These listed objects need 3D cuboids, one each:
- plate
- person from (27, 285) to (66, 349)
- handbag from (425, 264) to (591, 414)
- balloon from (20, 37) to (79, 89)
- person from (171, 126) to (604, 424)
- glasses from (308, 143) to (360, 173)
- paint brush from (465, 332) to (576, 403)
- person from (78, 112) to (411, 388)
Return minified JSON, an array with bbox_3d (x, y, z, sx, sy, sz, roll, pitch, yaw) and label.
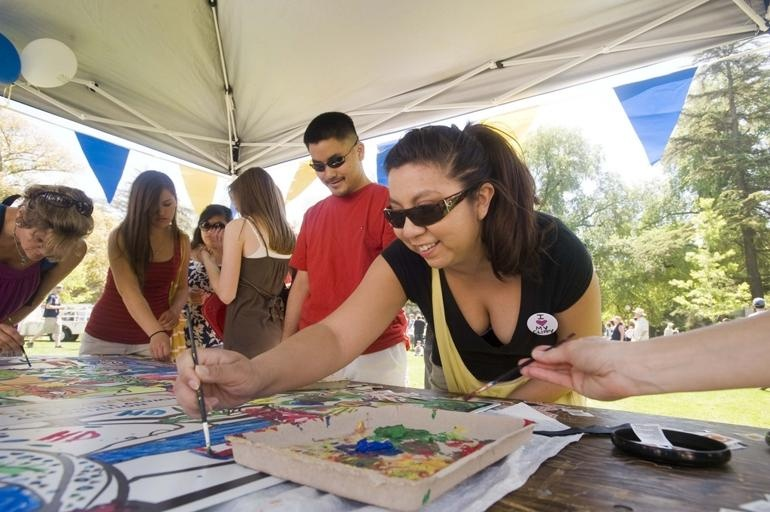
[{"bbox_3d":[0.866,0.573,1.336,0.144,0.030,0.153,2,-7,-13],"label":"plate"},{"bbox_3d":[-8.332,1.474,10.996,0.641,1.356,0.960,-5,-1,42],"label":"person"},{"bbox_3d":[0.548,0.336,1.940,0.599,0.552,0.329,-9,-14,44],"label":"handbag"},{"bbox_3d":[-2.766,-1.609,3.669,0.368,0.328,0.302,0,-8,-33],"label":"balloon"},{"bbox_3d":[0.186,-0.046,2.010,1.002,1.994,0.932,-6,-9,45],"label":"person"},{"bbox_3d":[-0.319,-0.619,2.824,0.204,0.063,0.204,-13,27,41],"label":"glasses"},{"bbox_3d":[0.567,0.465,1.888,0.680,0.050,0.052,-33,28,-14],"label":"paint brush"},{"bbox_3d":[-0.406,-0.075,2.885,0.877,1.736,0.838,7,-9,-44],"label":"person"}]
